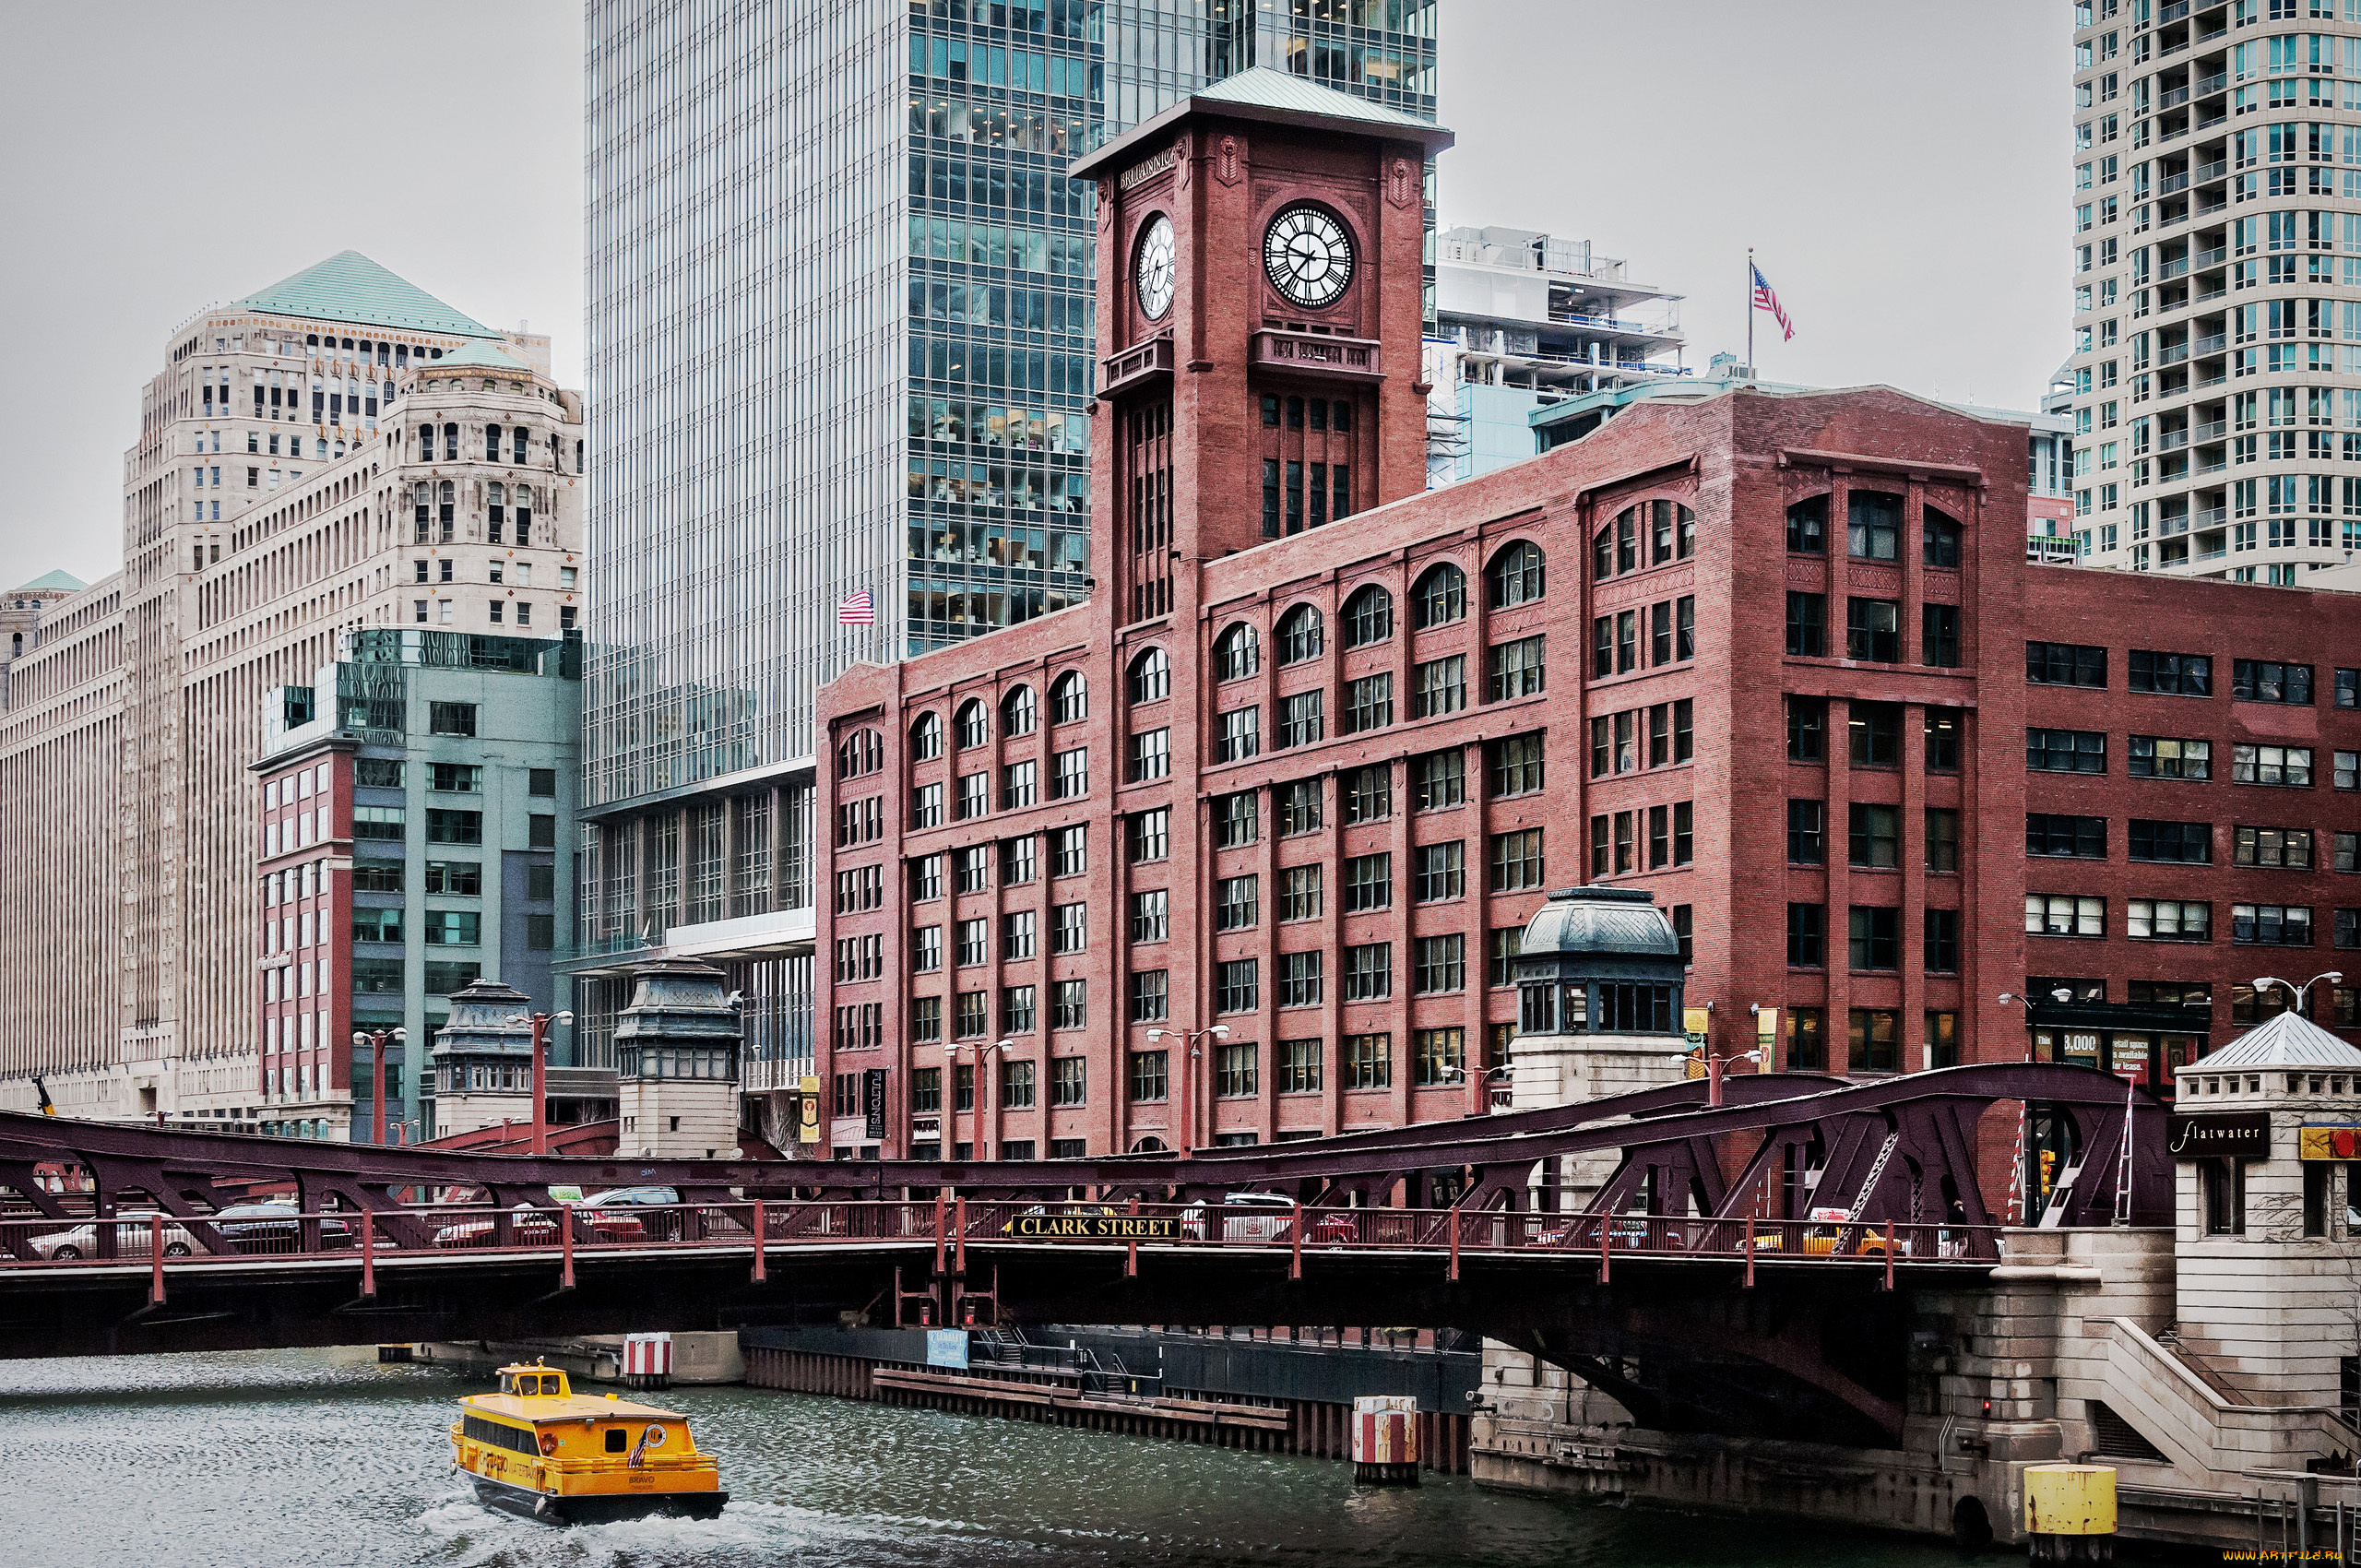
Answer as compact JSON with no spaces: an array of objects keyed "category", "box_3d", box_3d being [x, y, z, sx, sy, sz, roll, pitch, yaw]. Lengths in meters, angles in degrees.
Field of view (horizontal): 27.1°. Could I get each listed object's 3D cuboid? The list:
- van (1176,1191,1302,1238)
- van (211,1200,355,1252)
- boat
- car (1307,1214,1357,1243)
[{"category":"van","box_3d":[2.046,15.501,174.533,3.548,1.727,4.331,0,-4,-9]},{"category":"van","box_3d":[-30.688,15.282,167.541,4.924,1.905,7.062,3,-7,-27]},{"category":"boat","box_3d":[-21.540,24.470,176.472,4.122,4.671,10.659,8,-13,-43]},{"category":"car","box_3d":[5.569,16.511,180.250,1.873,0.629,1.678,2,-10,-14]}]
